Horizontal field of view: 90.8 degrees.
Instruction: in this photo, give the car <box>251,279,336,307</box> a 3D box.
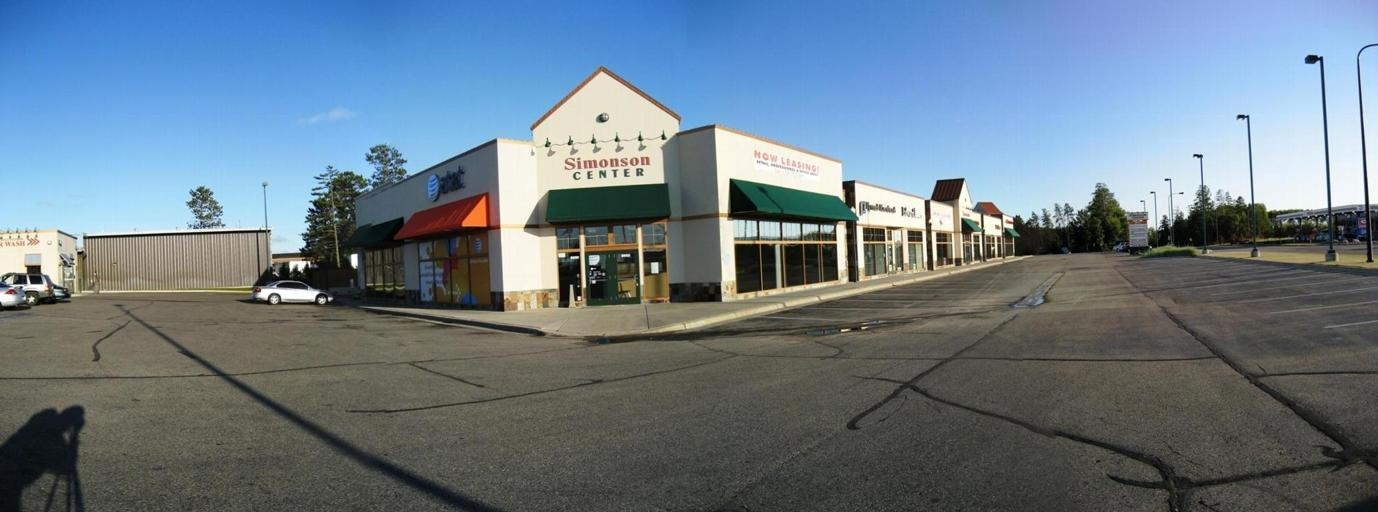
[{"bbox_3d":[-38.329,3.544,65.888,6.824,1.621,2.802,-2,4,-29],"label":"car"}]
